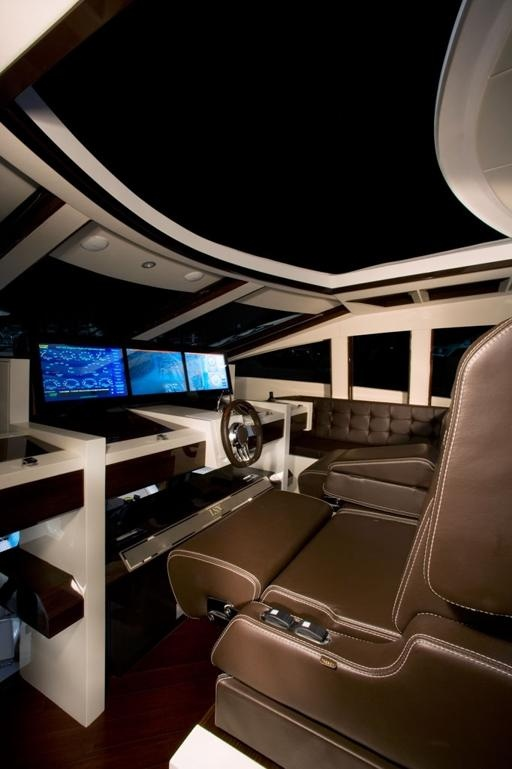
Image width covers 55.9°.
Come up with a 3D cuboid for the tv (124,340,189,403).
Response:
[{"bbox_3d":[-0.488,-0.068,2.468,0.425,0.236,0.008,1,3,30],"label":"tv"}]

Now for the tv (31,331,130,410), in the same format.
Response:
[{"bbox_3d":[-0.704,-0.046,2.016,0.041,0.278,0.514,-3,6,21],"label":"tv"}]
